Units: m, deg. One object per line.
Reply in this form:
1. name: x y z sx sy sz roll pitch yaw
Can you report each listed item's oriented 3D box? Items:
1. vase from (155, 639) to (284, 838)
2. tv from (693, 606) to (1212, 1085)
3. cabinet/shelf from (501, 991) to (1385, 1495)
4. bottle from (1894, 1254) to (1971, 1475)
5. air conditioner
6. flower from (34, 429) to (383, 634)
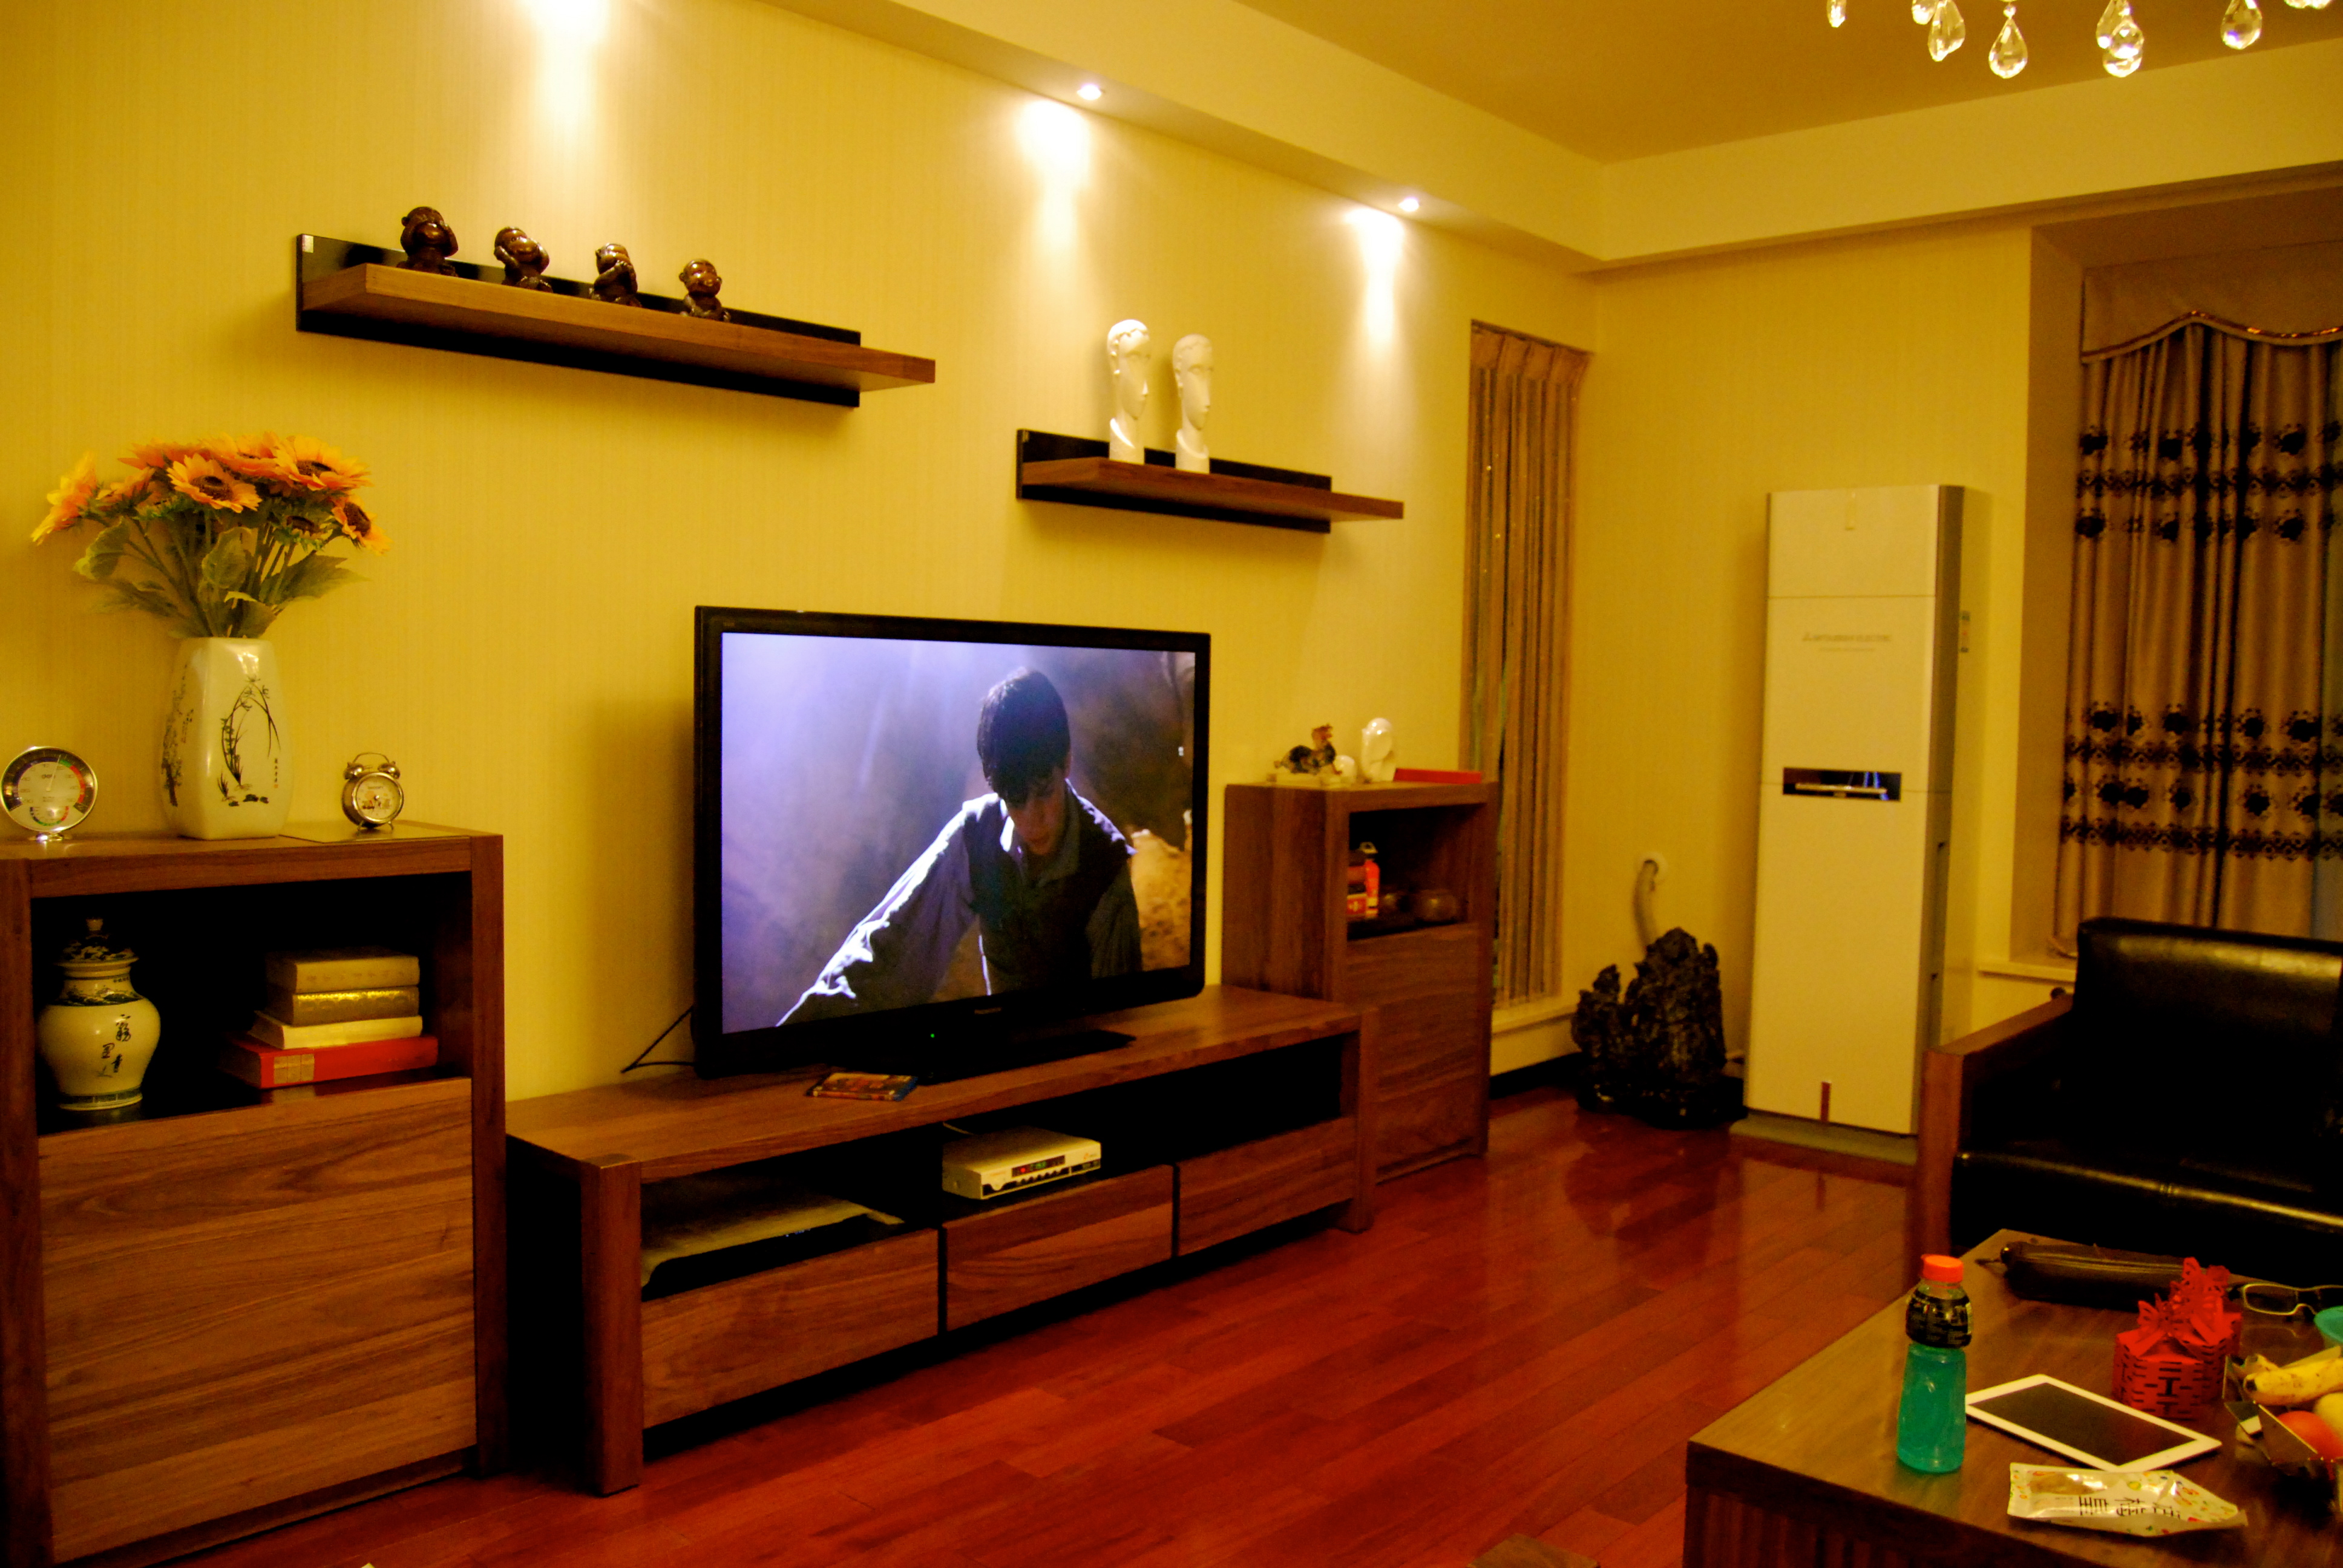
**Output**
1. vase: -1.948 -0.094 3.465 0.228 0.399 0.145 -4 11 -23
2. tv: -0.611 0.169 4.344 1.335 0.943 0.176 -3 4 -42
3. cabinet/shelf: -0.520 1.015 4.463 2.443 0.725 0.708 -7 13 -38
4. bottle: 1.340 0.998 2.953 0.115 0.366 0.183 6 12 25
5. air conditioner: 2.353 0.093 5.852 0.679 2.210 0.495 4 11 18
6. flower: -1.958 -0.492 3.441 0.490 0.290 0.472 -3 0 6
